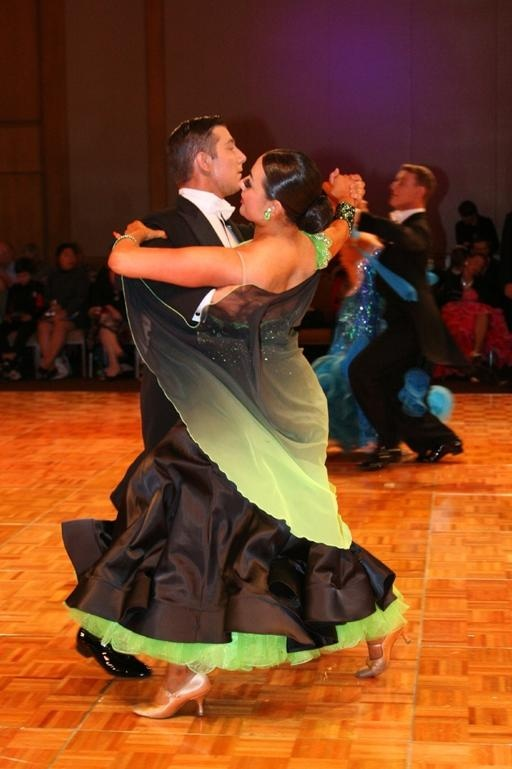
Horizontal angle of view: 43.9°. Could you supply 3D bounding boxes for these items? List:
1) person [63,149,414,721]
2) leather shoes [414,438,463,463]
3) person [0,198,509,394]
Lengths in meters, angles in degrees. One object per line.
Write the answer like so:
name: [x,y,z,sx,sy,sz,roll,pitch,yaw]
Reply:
person: [-0.027,0.089,1.231,0.674,1.112,0.389,-1,4,-16]
leather shoes: [1.093,0.397,3.846,0.342,0.137,0.115,-16,-9,4]
person: [0.050,-0.450,3.754,2.698,0.785,0.665,-1,0,2]
